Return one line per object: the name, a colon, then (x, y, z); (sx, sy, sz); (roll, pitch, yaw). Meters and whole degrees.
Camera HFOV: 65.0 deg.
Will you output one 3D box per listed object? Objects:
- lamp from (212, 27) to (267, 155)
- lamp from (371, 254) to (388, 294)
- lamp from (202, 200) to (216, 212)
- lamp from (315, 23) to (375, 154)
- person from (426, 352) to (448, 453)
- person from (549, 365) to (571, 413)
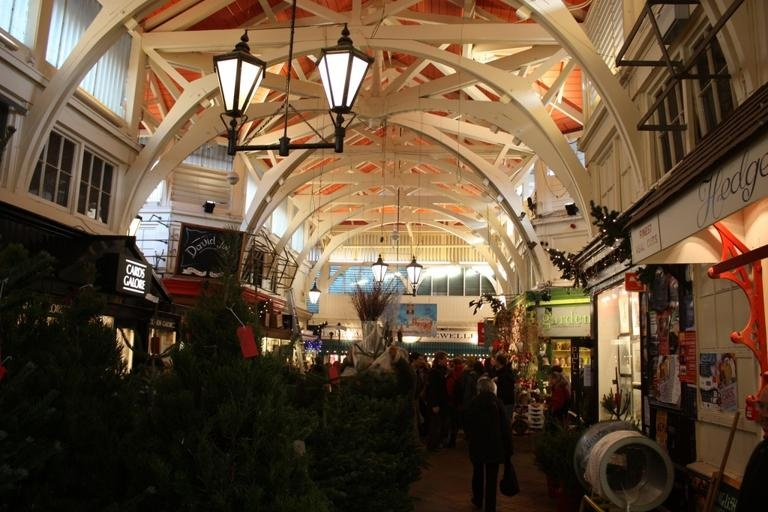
lamp: (-1.684, -2.025, 7.013); (0.597, 1.562, 0.584); (8, -13, -20)
lamp: (-0.108, 0.439, 16.226); (0.528, 1.661, 0.633); (0, 0, -2)
lamp: (-5.598, -1.630, 19.225); (0.372, 0.525, 0.685); (7, -12, -17)
lamp: (-0.447, -1.945, 6.793); (0.534, 1.521, 0.566); (4, -9, -3)
person: (1.088, 2.945, 12.384); (0.450, 1.965, 1.208); (2, -12, 4)
person: (3.248, 2.494, 11.088); (0.332, 0.857, 0.729); (-1, -12, 16)
